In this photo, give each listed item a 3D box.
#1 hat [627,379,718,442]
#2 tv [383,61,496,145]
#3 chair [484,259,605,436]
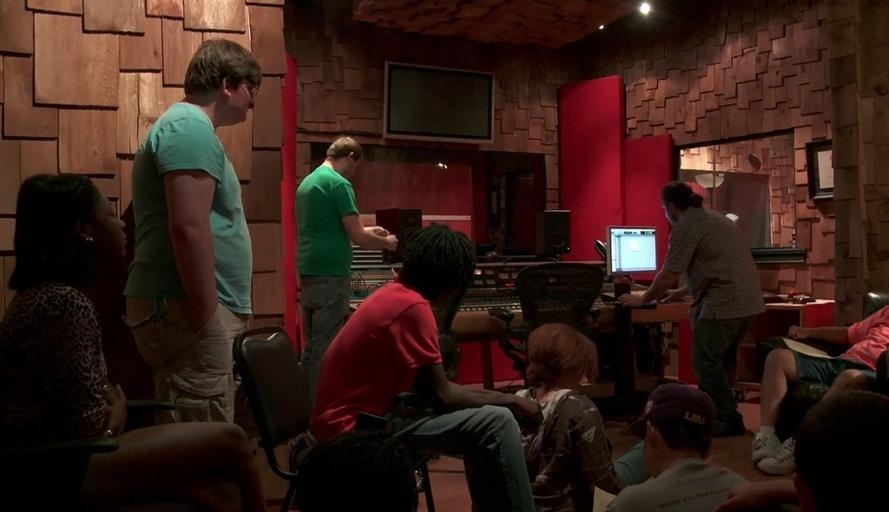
[{"bbox_3d":[1.150,0.753,3.363,0.240,0.169,0.318,11,-11,-31],"label":"hat"},{"bbox_3d":[-0.115,-1.608,7.247,0.960,0.573,0.129,1,2,-16],"label":"tv"},{"bbox_3d":[0.562,0.527,5.480,0.946,1.185,0.830,-1,2,-10],"label":"chair"}]
